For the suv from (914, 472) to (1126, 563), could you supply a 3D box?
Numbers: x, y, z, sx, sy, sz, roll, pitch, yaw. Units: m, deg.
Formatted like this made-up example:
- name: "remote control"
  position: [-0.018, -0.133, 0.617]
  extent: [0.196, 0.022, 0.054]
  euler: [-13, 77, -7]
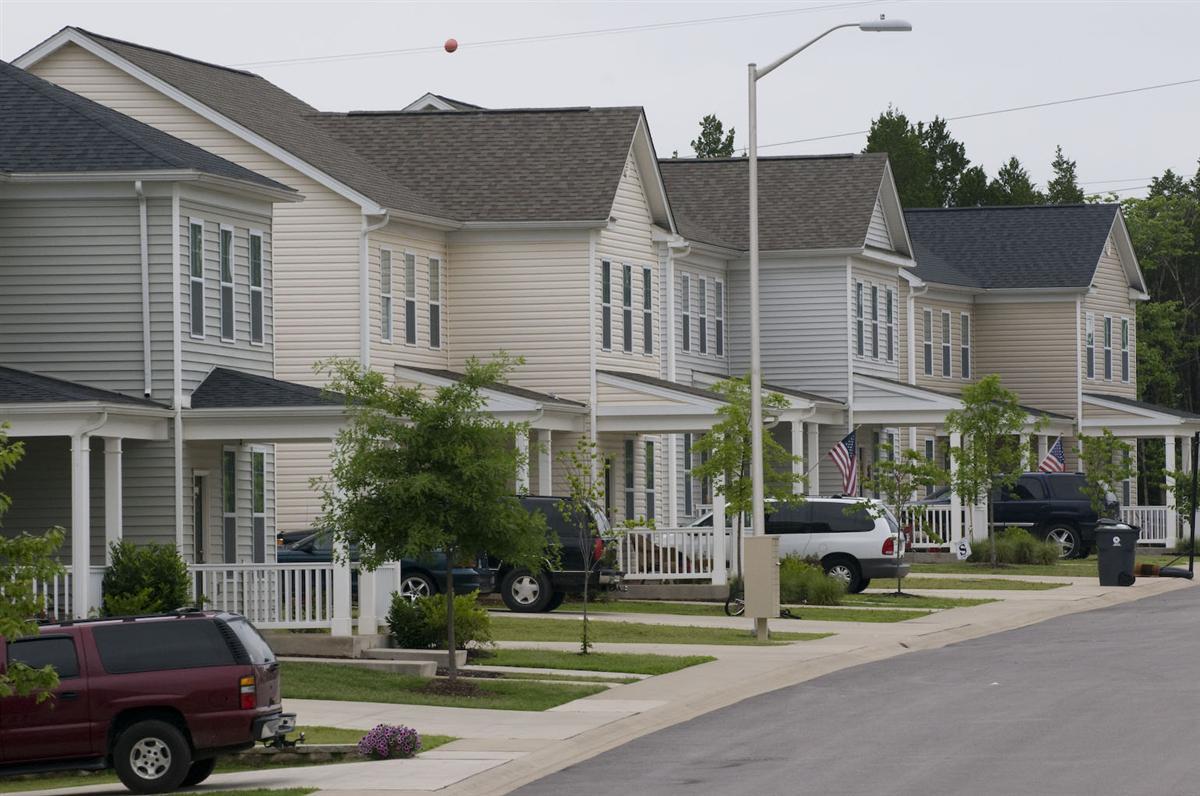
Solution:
- name: "suv"
  position: [12.293, 3.442, 70.328]
  extent: [5.090, 2.150, 2.740]
  euler: [2, -2, 4]

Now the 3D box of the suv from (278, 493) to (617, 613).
- name: "suv"
  position: [-3.663, 3.129, 54.391]
  extent: [7.623, 2.515, 2.912]
  euler: [2, -3, 3]

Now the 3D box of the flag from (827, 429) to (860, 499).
- name: "flag"
  position: [6.545, 1.596, 65.055]
  extent: [0.964, 2.478, 0.185]
  euler: [-6, 37, 6]

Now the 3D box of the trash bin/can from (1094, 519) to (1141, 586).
- name: "trash bin/can"
  position: [12.802, 3.824, 60.888]
  extent: [1.332, 1.730, 1.415]
  euler: [-1, -2, 7]

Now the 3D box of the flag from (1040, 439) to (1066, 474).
- name: "flag"
  position: [13.630, 1.680, 73.972]
  extent: [0.148, 0.999, 0.994]
  euler: [5, 8, 36]

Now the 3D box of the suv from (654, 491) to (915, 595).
- name: "suv"
  position: [4.109, 3.438, 59.605]
  extent: [6.805, 2.276, 2.728]
  euler: [1, 2, 12]
